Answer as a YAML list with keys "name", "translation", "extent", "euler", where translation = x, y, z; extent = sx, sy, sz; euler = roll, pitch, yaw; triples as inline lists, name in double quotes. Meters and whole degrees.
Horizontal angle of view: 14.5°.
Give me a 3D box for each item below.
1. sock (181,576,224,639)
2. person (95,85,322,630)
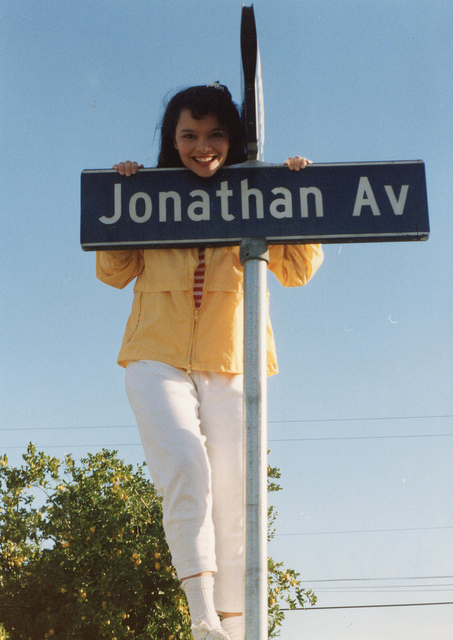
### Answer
- name: "sock"
  translation: [-0.098, 1.112, 6.866]
  extent: [0.142, 0.250, 0.128]
  euler: [6, -19, -13]
- name: "person"
  translation: [-0.114, 0.091, 7.236]
  extent: [0.842, 2.348, 0.594]
  euler: [3, -18, -4]
